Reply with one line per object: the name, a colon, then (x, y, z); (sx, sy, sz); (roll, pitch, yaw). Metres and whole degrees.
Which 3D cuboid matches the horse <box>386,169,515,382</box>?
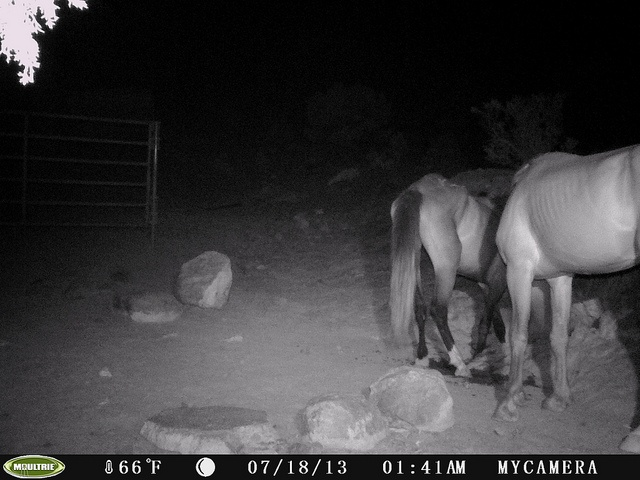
horse: (2.016, 0.416, 6.962); (0.948, 2.686, 3.668); (-7, -9, 44)
